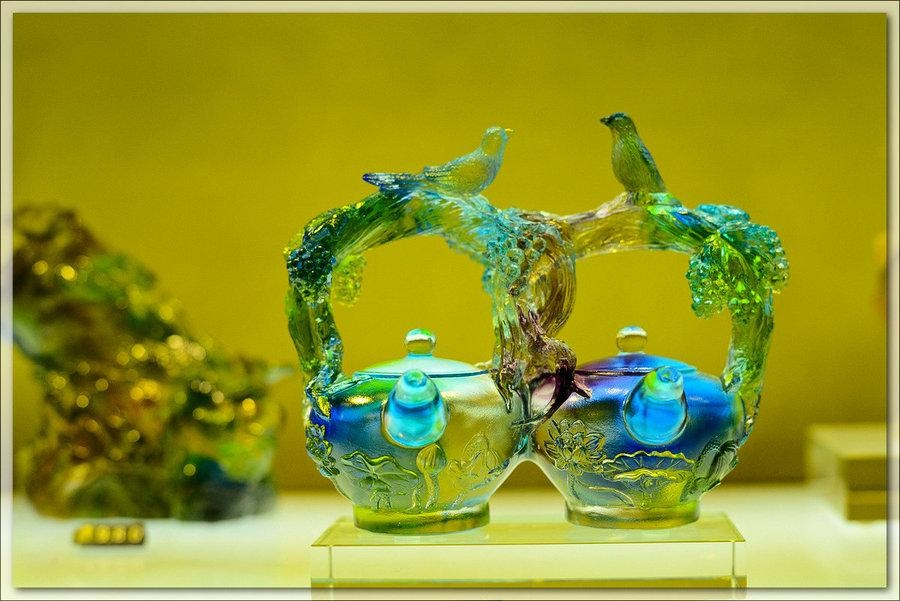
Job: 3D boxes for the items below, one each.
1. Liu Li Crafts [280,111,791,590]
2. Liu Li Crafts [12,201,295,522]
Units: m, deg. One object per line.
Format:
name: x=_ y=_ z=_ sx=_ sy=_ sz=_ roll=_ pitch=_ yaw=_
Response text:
Liu Li Crafts: x=0.174 y=0.127 z=2.222 sx=1.039 sy=0.920 sz=0.553 roll=2 pitch=-30 yaw=-10
Liu Li Crafts: x=-0.916 y=0.155 z=3.261 sx=0.872 sy=0.897 sz=0.684 roll=-1 pitch=9 yaw=7
